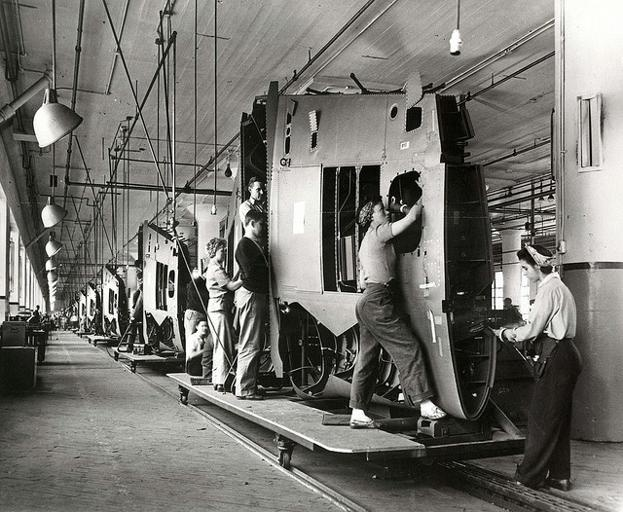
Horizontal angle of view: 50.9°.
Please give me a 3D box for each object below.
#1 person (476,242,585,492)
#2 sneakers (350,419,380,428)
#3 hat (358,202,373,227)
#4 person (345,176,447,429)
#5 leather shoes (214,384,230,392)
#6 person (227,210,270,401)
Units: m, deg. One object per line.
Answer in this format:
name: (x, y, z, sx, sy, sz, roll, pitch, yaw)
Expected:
person: (2.096, 0.967, 5.931, 0.623, 2.185, 0.411, -2, -3, 19)
sneakers: (0.536, 1.684, 6.589, 0.270, 0.112, 0.110, 0, -3, -11)
hat: (0.593, -0.469, 7.150, 0.064, 0.248, 0.164, 14, -2, -17)
person: (0.808, 0.535, 6.635, 0.861, 2.351, 0.466, -2, -3, 10)
leather shoes: (-1.227, 1.842, 9.184, 0.094, 0.113, 0.270, 3, -8, -25)
person: (-0.772, 0.582, 8.566, 0.459, 2.495, 0.569, -1, -3, -6)
